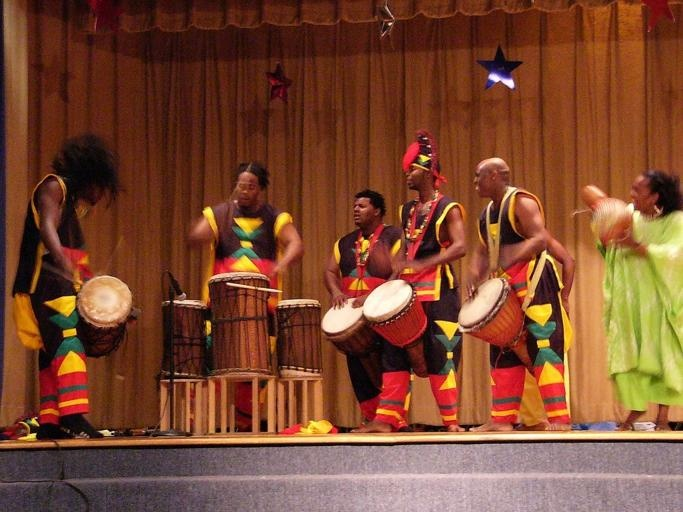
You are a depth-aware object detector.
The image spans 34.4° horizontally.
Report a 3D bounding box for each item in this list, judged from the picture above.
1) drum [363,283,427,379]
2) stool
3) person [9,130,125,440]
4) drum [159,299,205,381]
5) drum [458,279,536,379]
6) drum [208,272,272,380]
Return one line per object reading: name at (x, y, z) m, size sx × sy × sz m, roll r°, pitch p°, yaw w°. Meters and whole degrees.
drum at (0.388, 0.444, 7.771) m, size 0.507 × 0.663 × 0.478 m, roll -3°, pitch -17°, yaw -1°
stool at (-0.906, 1.207, 8.929) m, size 0.789 × 0.314 × 0.827 m, roll -3°, pitch -8°, yaw 24°
person at (-1.937, 0.191, 7.705) m, size 0.721 × 2.224 × 0.536 m, roll -2°, pitch -16°, yaw -6°
drum at (-1.126, 0.646, 8.775) m, size 0.370 × 0.600 × 0.397 m, roll -5°, pitch 1°, yaw 0°
drum at (1.067, 0.434, 7.631) m, size 0.397 × 0.571 × 0.599 m, roll -17°, pitch -22°, yaw 38°
drum at (-0.779, 0.576, 8.410) m, size 0.471 × 0.796 × 0.461 m, roll -6°, pitch -17°, yaw -2°
